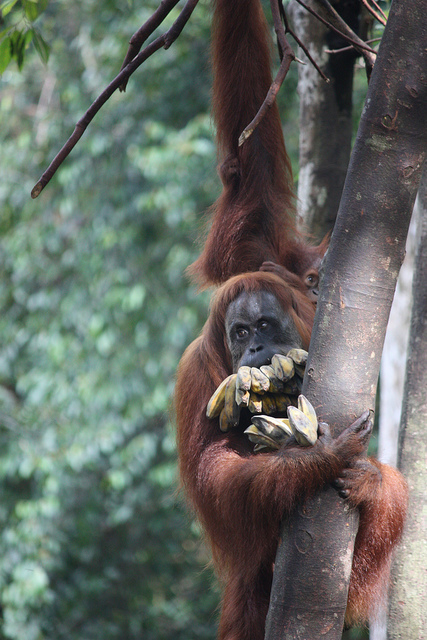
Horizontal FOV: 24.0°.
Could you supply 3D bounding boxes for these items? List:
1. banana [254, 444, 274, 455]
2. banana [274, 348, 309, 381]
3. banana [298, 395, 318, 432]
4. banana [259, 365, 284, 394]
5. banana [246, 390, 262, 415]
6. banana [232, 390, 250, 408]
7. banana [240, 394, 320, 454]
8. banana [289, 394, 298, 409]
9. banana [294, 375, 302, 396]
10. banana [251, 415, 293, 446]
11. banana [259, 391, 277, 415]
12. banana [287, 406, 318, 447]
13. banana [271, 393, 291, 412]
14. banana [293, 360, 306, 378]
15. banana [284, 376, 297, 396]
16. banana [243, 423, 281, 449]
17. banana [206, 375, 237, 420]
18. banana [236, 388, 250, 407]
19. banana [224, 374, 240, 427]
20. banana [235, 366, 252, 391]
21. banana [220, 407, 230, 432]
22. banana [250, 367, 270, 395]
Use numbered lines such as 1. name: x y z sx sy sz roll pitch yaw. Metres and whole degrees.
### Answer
1. banana: 0.145 0.378 2.889 0.011 0.031 0.040 -56 8 -29
2. banana: 0.227 0.126 2.868 0.069 0.034 0.089 -1 25 -4
3. banana: 0.246 0.243 2.549 0.048 0.108 0.034 -2 25 3
4. banana: 0.175 0.170 2.848 0.028 0.085 0.045 -37 -18 29
5. banana: 0.121 0.236 2.839 0.023 0.039 0.067 -11 66 19
6. banana: 0.082 0.213 2.855 0.047 0.051 0.086 4 21 -8
7. banana: 0.195 0.296 2.651 0.146 0.100 0.200 -20 -9 -7
8. banana: 0.235 0.235 2.888 0.018 0.037 0.009 -19 10 -43
9. banana: 0.250 0.191 2.871 0.014 0.068 0.018 -10 -12 2
10. banana: 0.170 0.300 2.730 0.045 0.154 0.060 -13 55 26
11. banana: 0.163 0.241 2.871 0.034 0.068 0.022 -15 4 -14
12. banana: 0.229 0.273 2.573 0.040 0.115 0.066 -16 21 30
13. banana: 0.201 0.235 2.875 0.034 0.062 0.020 -46 20 -1
14. banana: 0.250 0.145 2.903 0.016 0.032 0.044 -41 78 -8
15. banana: 0.226 0.192 2.861 0.044 0.034 0.017 26 4 44
16. banana: 0.137 0.331 2.785 0.088 0.079 0.027 20 65 25
17. banana: 0.019 0.239 2.959 0.048 0.163 0.055 39 -3 6
18. banana: 0.088 0.221 2.823 0.029 0.051 0.050 1 1 3
19. banana: 0.060 0.233 2.906 0.047 0.150 0.040 0 6 9
20. banana: 0.091 0.166 2.829 0.032 0.022 0.063 -17 35 23
21. banana: 0.039 0.297 2.994 0.023 0.073 0.022 13 17 30
22. banana: 0.132 0.171 2.827 0.038 0.034 0.071 -33 34 6
